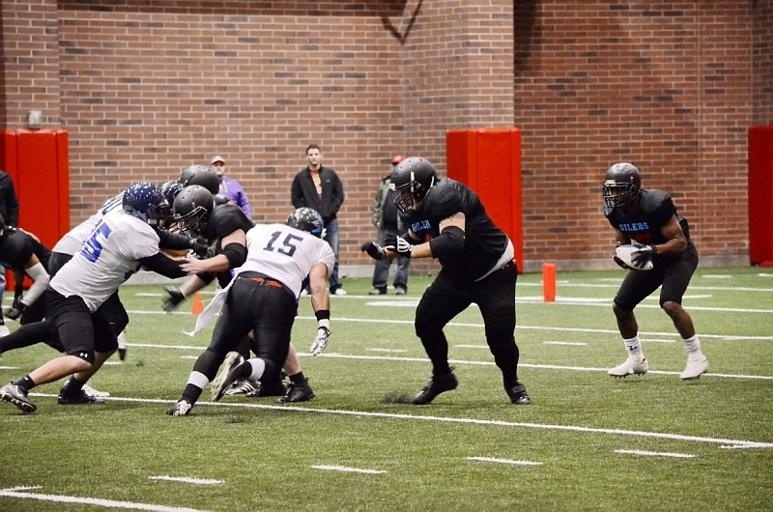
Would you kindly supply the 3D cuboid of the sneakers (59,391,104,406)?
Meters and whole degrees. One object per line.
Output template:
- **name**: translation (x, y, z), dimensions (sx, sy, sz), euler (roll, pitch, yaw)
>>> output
- **sneakers**: translation (-2.869, 1.336, 11.073), dimensions (0.462, 0.186, 0.156), euler (2, 0, -11)

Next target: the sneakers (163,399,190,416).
- **sneakers**: translation (-1.852, 1.353, 10.461), dimensions (0.225, 0.150, 0.226), euler (0, 1, -13)

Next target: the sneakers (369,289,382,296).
- **sneakers**: translation (-0.167, 0.621, 19.834), dimensions (0.239, 0.108, 0.094), euler (10, -8, -35)

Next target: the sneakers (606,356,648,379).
- **sneakers**: translation (2.498, 1.166, 12.245), dimensions (0.495, 0.274, 0.183), euler (-2, 1, -5)

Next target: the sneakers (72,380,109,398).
- **sneakers**: translation (-2.858, 1.308, 11.252), dimensions (0.358, 0.155, 0.121), euler (8, 15, -15)

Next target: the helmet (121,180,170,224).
- **helmet**: translation (-2.200, -0.493, 10.664), dimensions (0.423, 0.382, 0.316), euler (-2, 13, -17)

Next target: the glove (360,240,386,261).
- **glove**: translation (-0.094, -0.042, 10.435), dimensions (0.244, 0.097, 0.127), euler (39, -7, -24)

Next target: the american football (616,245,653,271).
- **american football**: translation (2.568, 0.028, 12.063), dimensions (0.325, 0.197, 0.250), euler (8, -1, -35)

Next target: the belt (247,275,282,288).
- **belt**: translation (-1.070, 0.230, 10.480), dimensions (0.202, 0.049, 0.112), euler (19, -3, -2)

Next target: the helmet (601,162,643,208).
- **helmet**: translation (2.533, -0.738, 12.168), dimensions (0.487, 0.414, 0.347), euler (-5, 2, -44)

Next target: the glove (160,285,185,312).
- **glove**: translation (-1.966, 0.423, 10.803), dimensions (0.198, 0.291, 0.089), euler (43, 26, 11)

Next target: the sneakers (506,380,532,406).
- **sneakers**: translation (1.241, 1.298, 10.938), dimensions (0.121, 0.148, 0.328), euler (-1, -7, -14)

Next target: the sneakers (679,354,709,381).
- **sneakers**: translation (3.138, 1.154, 11.964), dimensions (0.156, 0.199, 0.410), euler (-8, 16, 46)

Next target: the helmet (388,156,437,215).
- **helmet**: translation (0.255, -0.710, 10.948), dimensions (0.478, 0.450, 0.409), euler (-27, 21, -3)

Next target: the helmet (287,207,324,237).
- **helmet**: translation (-0.755, -0.333, 11.159), dimensions (0.308, 0.277, 0.249), euler (27, -8, -41)

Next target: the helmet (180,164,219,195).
- **helmet**: translation (-1.906, -0.838, 12.087), dimensions (0.326, 0.378, 0.397), euler (-13, 24, -43)

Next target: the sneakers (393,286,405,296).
- **sneakers**: translation (0.248, 0.610, 19.776), dimensions (0.091, 0.115, 0.259), euler (0, -18, 13)
